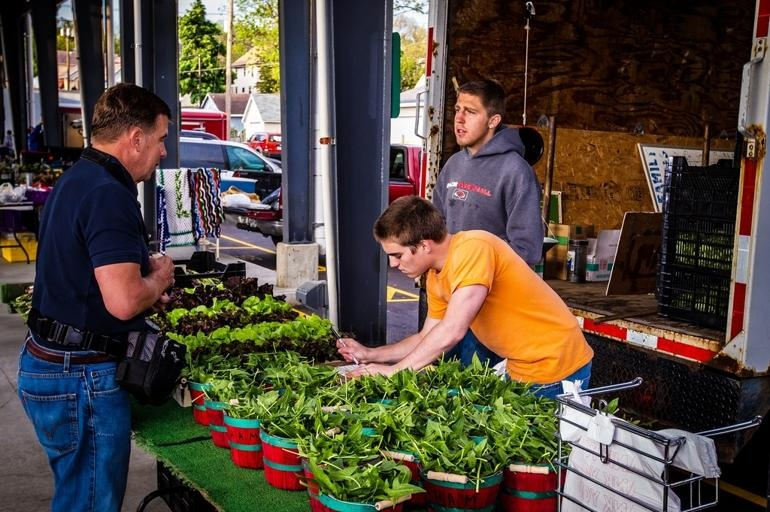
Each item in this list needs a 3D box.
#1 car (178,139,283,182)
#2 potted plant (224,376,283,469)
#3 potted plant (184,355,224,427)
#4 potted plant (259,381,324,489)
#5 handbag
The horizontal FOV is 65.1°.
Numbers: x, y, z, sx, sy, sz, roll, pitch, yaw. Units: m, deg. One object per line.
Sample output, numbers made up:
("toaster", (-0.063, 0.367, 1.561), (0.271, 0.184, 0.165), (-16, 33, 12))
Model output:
("car", (-4.447, -2.666, 17.552), (2.841, 1.327, 1.366), (-4, 9, -21))
("potted plant", (-0.665, 0.877, 3.103), (0.337, 0.266, 0.354), (0, -8, -8))
("potted plant", (-1.045, 0.793, 3.386), (0.325, 0.240, 0.296), (0, 2, -15))
("potted plant", (-0.491, 0.844, 2.925), (0.367, 0.293, 0.386), (-1, 6, -24))
("handbag", (-1.440, 0.445, 3.255), (0.730, 0.337, 0.446), (22, -4, -6))
